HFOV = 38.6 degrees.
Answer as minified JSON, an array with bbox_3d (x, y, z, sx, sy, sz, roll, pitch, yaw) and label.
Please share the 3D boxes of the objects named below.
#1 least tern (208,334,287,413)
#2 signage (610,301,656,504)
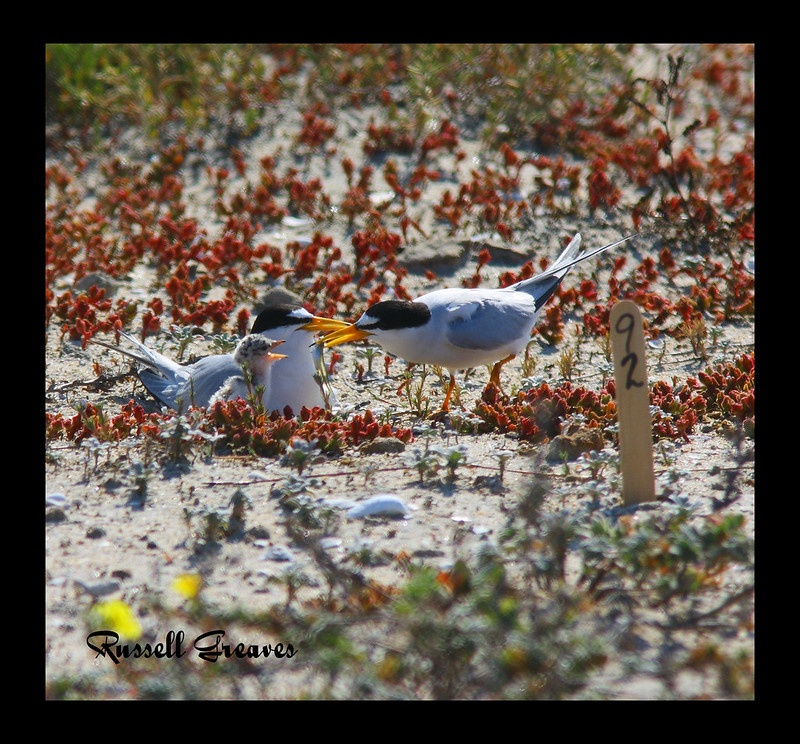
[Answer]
[{"bbox_3d":[-1.056,-0.003,7.935,0.530,0.510,0.482,1,6,-8],"label":"least tern"},{"bbox_3d":[1.300,0.188,6.337,0.221,1.227,0.065,-4,13,-9],"label":"signage"}]
